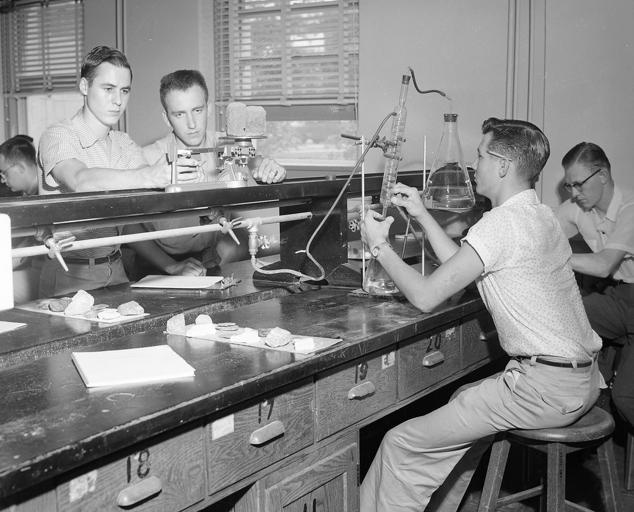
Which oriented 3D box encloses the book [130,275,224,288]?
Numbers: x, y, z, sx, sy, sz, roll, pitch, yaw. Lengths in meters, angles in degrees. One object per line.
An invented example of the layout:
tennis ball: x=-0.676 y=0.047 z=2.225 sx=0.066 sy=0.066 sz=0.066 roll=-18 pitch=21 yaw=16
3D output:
book: x=-0.564 y=0.097 z=2.194 sx=0.364 sy=0.029 sz=0.251 roll=1 pitch=9 yaw=2

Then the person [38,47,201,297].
person: x=-0.827 y=-0.300 z=2.182 sx=0.615 sy=1.089 sz=1.112 roll=-4 pitch=10 yaw=-29

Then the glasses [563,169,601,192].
glasses: x=1.414 y=-0.398 z=2.778 sx=0.112 sy=0.035 sz=0.110 roll=-37 pitch=1 yaw=-4
